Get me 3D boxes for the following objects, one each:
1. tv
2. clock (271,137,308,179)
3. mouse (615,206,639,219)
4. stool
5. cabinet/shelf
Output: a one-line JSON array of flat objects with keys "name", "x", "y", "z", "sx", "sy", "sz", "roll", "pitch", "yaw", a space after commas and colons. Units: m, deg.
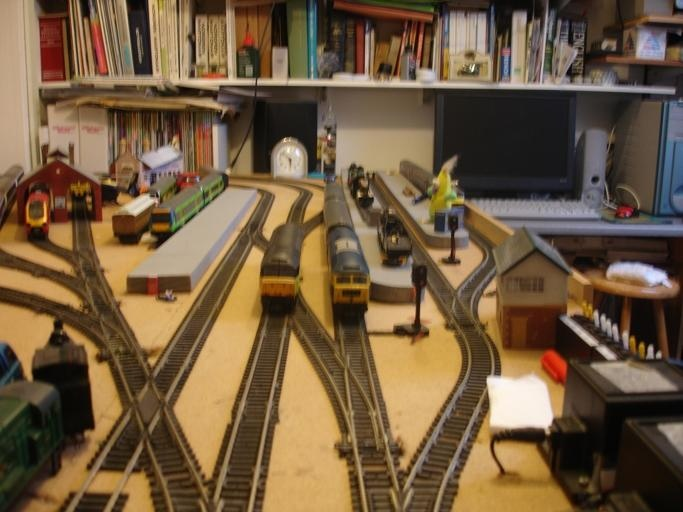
[{"name": "tv", "x": 1.935, "y": -1.367, "z": 6.374, "sx": 1.152, "sy": 1.037, "sz": 0.400, "roll": 0, "pitch": 8, "yaw": -2}, {"name": "clock", "x": -0.683, "y": -1.271, "z": 7.080, "sx": 0.440, "sy": 0.634, "sz": 0.168, "roll": 0, "pitch": 7, "yaw": -4}, {"name": "mouse", "x": 3.049, "y": -0.460, "z": 5.737, "sx": 0.162, "sy": 0.096, "sz": 0.229, "roll": -21, "pitch": 23, "yaw": -31}, {"name": "stool", "x": 2.328, "y": 0.413, "z": 4.242, "sx": 0.603, "sy": 0.822, "sz": 0.671, "roll": -3, "pitch": 12, "yaw": -17}, {"name": "cabinet/shelf", "x": 0.034, "y": -2.453, "z": 6.377, "sx": 6.752, "sy": 1.011, "sz": 1.616, "roll": 0, "pitch": 4, "yaw": 0}]
